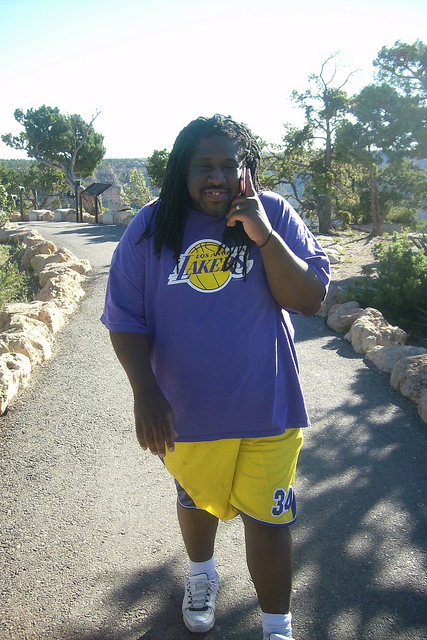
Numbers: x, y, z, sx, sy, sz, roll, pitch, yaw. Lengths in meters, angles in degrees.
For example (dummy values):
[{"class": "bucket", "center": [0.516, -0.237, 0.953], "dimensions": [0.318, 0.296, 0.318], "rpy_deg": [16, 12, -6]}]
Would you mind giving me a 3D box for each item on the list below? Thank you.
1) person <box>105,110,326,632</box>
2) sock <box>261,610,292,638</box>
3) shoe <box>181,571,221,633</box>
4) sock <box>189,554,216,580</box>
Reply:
[{"class": "person", "center": [0.008, 0.274, 1.711], "dimensions": [0.685, 1.813, 0.517], "rpy_deg": [1, 11, 12]}, {"class": "sock", "center": [0.185, 0.891, 1.539], "dimensions": [0.067, 0.072, 0.081], "rpy_deg": [-1, -21, -5]}, {"class": "shoe", "center": [-0.051, 1.046, 1.943], "dimensions": [0.088, 0.095, 0.239], "rpy_deg": [0, 13, 0]}, {"class": "sock", "center": [-0.037, 0.926, 1.981], "dimensions": [0.087, 0.081, 0.069], "rpy_deg": [-5, -1, 16]}]
